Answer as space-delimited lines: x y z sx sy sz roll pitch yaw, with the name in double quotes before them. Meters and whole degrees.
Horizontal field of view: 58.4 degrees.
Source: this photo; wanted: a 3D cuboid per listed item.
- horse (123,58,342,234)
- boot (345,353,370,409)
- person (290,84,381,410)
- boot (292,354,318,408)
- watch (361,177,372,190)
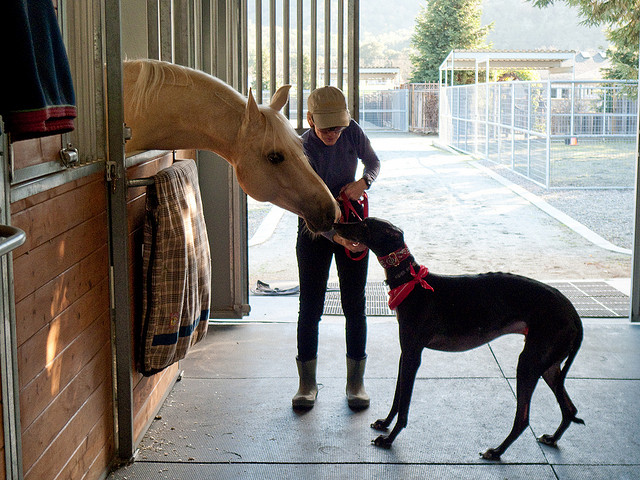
"horse" -0.582 -0.493 3.020 1.356 0.821 0.378 16 24 14
"boot" 0.223 0.851 3.478 0.124 0.283 0.343 1 -1 -3
"person" 0.105 0.129 3.331 0.630 1.886 0.564 -1 12 -13
"boot" -0.090 0.855 3.479 0.131 0.283 0.330 -4 -4 8
"watch" 0.269 -0.323 3.303 0.025 0.062 0.054 -26 46 -15
